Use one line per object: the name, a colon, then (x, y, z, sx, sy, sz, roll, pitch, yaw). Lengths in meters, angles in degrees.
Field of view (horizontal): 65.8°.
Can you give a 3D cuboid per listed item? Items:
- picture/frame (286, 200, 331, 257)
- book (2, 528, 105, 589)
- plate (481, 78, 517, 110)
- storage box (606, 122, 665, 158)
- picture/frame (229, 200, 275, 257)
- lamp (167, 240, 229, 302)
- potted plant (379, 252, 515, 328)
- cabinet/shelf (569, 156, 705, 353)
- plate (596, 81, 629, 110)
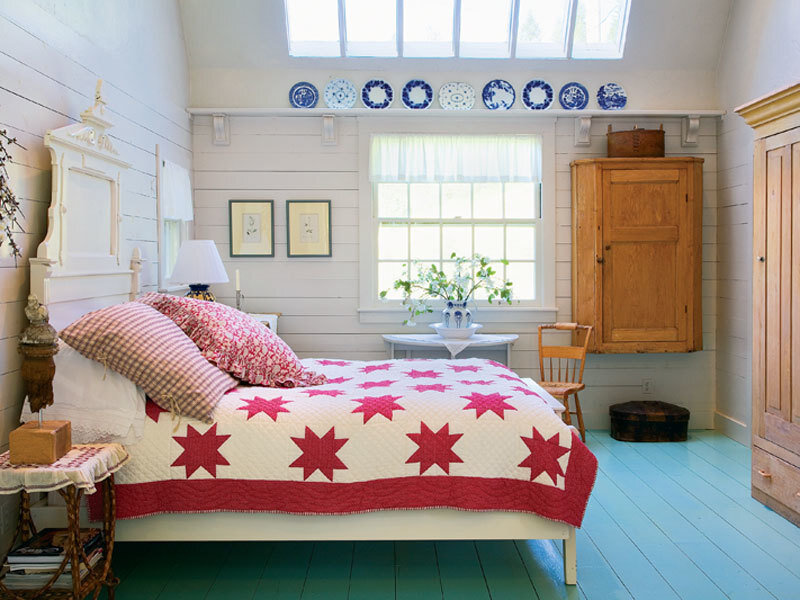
picture/frame: (-0.813, -0.637, 5.378, 0.479, 0.594, 0.042, 0, 3, -4)
book: (-1.659, 1.202, 2.863, 0.278, 0.088, 0.281, 1, 4, -8)
plate: (0.849, -1.773, 5.403, 0.279, 0.283, 0.065, -26, 9, 1)
storage box: (1.984, -1.346, 5.213, 0.447, 0.266, 0.211, 2, 11, 13)
picture/frame: (-1.302, -0.645, 5.365, 0.478, 0.606, 0.044, 0, 2, -3)
lamp: (-1.481, -0.182, 4.537, 0.441, 0.488, 0.447, -2, -1, 24)
potted plant: (0.406, -0.043, 5.433, 1.111, 0.598, 0.491, 2, 3, 20)
cabinet/shelf: (2.006, -0.390, 5.191, 1.005, 1.573, 0.443, -1, 11, -1)
plate: (1.825, -1.775, 5.362, 0.283, 0.290, 0.040, 0, 0, -3)
